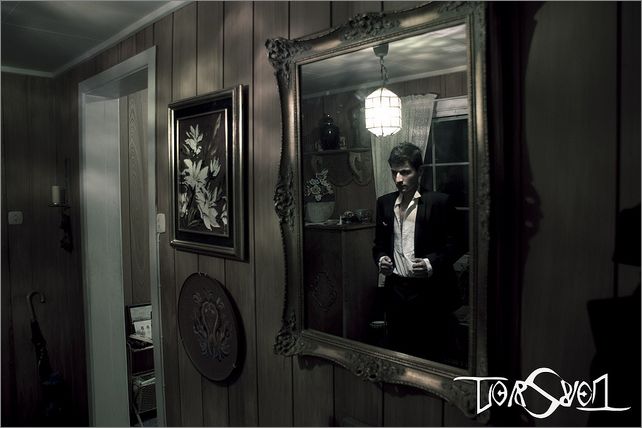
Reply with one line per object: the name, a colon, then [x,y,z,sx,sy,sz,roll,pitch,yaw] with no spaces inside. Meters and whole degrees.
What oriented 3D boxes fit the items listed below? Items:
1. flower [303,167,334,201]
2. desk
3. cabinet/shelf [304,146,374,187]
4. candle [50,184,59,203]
flower: [-0.007,-0.106,2.124,0.027,0.126,0.115,-2,-26,-45]
desk: [0.067,0.321,2.201,0.196,0.540,0.259,-5,5,-44]
cabinet/shelf: [0.062,-0.211,2.076,0.305,0.160,0.090,1,31,13]
candle: [-1.905,-0.138,3.683,0.049,0.156,0.151,-4,-3,-28]
